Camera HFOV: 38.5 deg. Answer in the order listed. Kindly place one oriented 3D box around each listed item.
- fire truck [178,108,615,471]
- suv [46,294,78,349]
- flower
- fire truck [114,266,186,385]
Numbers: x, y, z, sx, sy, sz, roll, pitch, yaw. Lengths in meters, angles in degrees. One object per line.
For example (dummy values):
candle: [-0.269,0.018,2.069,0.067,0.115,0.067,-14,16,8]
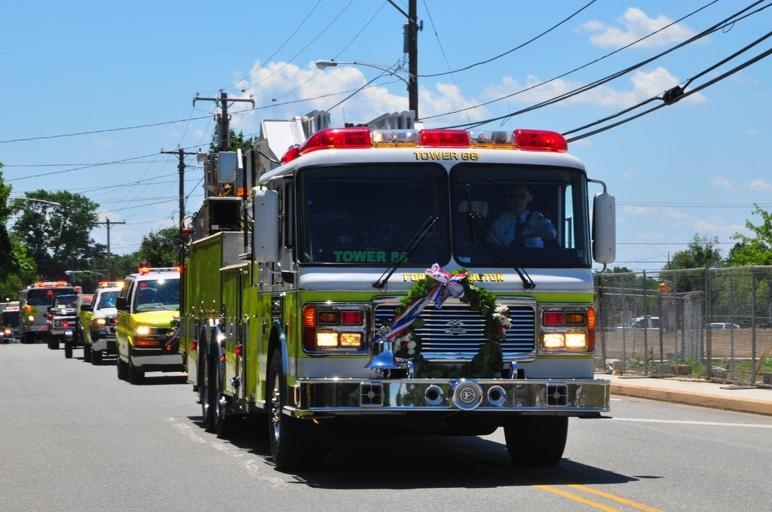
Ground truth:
fire truck: [-0.475,0.605,18.010,3.328,3.724,8.399,2,-5,-18]
suv: [-14.785,2.906,50.221,2.180,2.233,4.179,0,-4,-16]
flower: [0.797,0.846,14.481,1.588,1.459,0.322,1,-3,-1]
fire truck: [-6.088,1.504,29.400,1.926,2.361,4.210,-1,8,-20]
